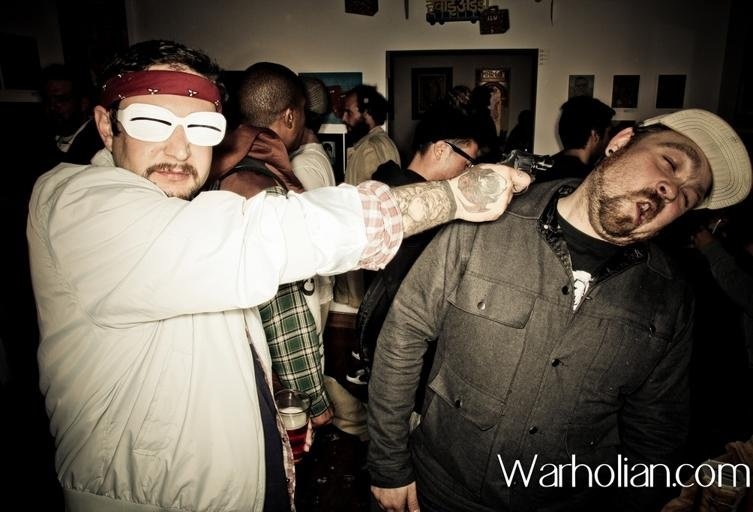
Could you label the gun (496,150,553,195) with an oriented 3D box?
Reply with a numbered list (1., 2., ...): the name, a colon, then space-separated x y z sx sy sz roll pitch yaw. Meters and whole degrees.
1. gun: 0.625 -0.357 2.264 0.274 0.197 0.071 20 40 40
